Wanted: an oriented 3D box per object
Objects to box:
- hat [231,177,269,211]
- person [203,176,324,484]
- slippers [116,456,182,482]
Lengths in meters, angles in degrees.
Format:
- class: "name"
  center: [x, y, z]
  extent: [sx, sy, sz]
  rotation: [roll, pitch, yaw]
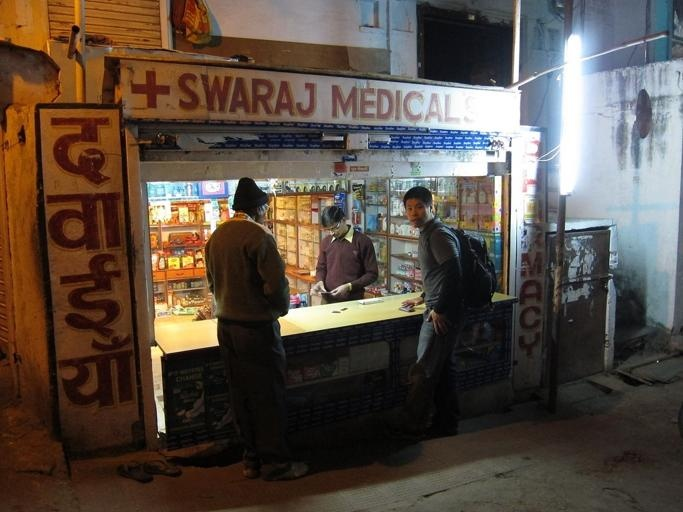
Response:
- class: "hat"
  center: [-1.013, -0.653, 6.369]
  extent: [0.352, 0.251, 0.359]
  rotation: [7, 17, 26]
- class: "person"
  center: [-0.937, 0.811, 6.340]
  extent: [0.890, 3.219, 0.515]
  rotation: [-4, 7, 0]
- class: "slippers"
  center: [-2.075, 2.282, 6.307]
  extent: [0.355, 0.109, 0.278]
  rotation: [0, 0, 32]
